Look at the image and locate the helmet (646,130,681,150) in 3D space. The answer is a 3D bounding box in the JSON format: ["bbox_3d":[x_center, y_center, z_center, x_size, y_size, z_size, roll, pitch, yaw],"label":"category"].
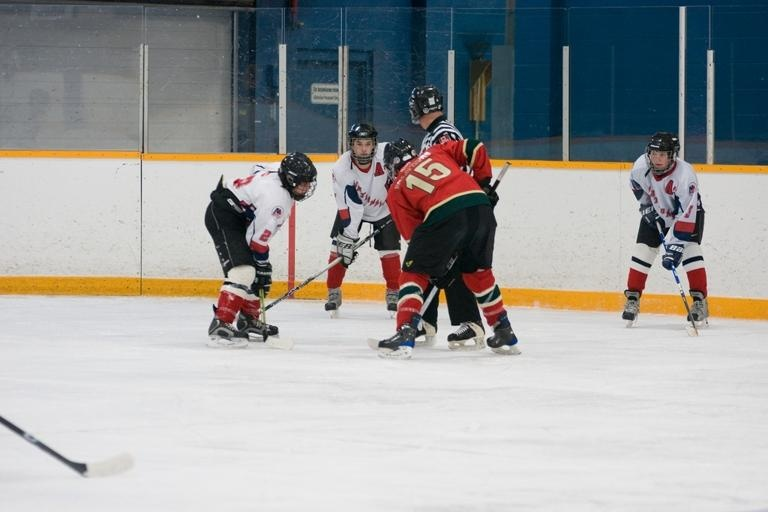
[{"bbox_3d":[2.019,-0.826,7.808,0.159,0.168,0.193,3,0,39],"label":"helmet"}]

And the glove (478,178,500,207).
[{"bbox_3d":[0.652,-0.394,6.722,0.167,0.148,0.067,-4,-10,-35],"label":"glove"}]

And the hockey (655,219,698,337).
[{"bbox_3d":[2.094,0.148,7.735,0.204,0.938,0.047,0,-24,-12],"label":"hockey"}]

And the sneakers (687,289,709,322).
[{"bbox_3d":[2.266,0.361,7.844,0.117,0.217,0.334,-3,6,32],"label":"sneakers"}]

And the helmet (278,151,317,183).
[{"bbox_3d":[-0.541,-0.568,6.853,0.231,0.167,0.208,14,-36,-17],"label":"helmet"}]

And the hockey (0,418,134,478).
[{"bbox_3d":[-1.463,0.899,5.053,0.639,0.236,0.179,5,7,19],"label":"hockey"}]

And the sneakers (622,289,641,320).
[{"bbox_3d":[1.781,0.358,7.778,0.108,0.201,0.282,5,7,12],"label":"sneakers"}]

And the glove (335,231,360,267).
[{"bbox_3d":[-0.266,-0.044,8.019,0.157,0.245,0.259,3,7,-4],"label":"glove"}]

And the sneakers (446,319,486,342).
[{"bbox_3d":[0.542,0.484,6.909,0.291,0.154,0.097,1,-7,-9],"label":"sneakers"}]

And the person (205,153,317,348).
[{"bbox_3d":[-0.790,-0.060,6.842,0.664,1.189,0.403,3,7,-10],"label":"person"}]

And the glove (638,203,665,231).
[{"bbox_3d":[1.948,-0.282,7.881,0.151,0.193,0.089,-14,-3,27],"label":"glove"}]

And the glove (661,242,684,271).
[{"bbox_3d":[2.076,0.018,7.739,0.136,0.206,0.065,4,-27,22],"label":"glove"}]

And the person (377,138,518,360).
[{"bbox_3d":[0.365,-0.090,6.729,0.857,1.424,0.774,-4,-18,-9],"label":"person"}]

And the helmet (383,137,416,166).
[{"bbox_3d":[0.110,-0.649,6.779,0.159,0.170,0.182,-3,-1,-38],"label":"helmet"}]

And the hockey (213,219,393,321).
[{"bbox_3d":[-0.587,0.102,7.952,1.257,0.141,0.175,-30,1,1],"label":"hockey"}]

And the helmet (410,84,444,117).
[{"bbox_3d":[0.306,-1.035,7.231,0.200,0.214,0.233,-8,5,-24],"label":"helmet"}]
